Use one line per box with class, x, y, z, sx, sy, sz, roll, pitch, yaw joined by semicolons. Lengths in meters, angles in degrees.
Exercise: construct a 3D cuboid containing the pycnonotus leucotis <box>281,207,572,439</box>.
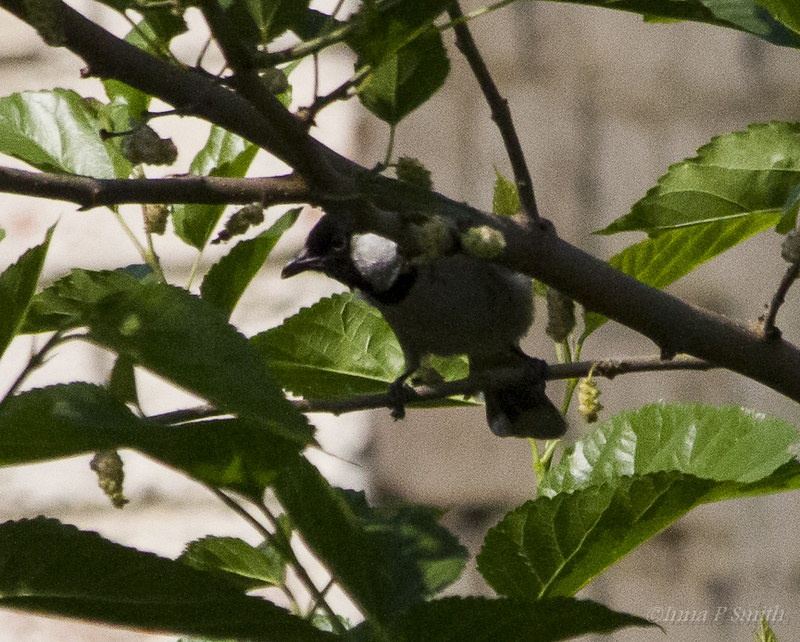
pycnonotus leucotis;0.029;-0.001;1.115;0.098;0.111;0.217;-18;-20;37
